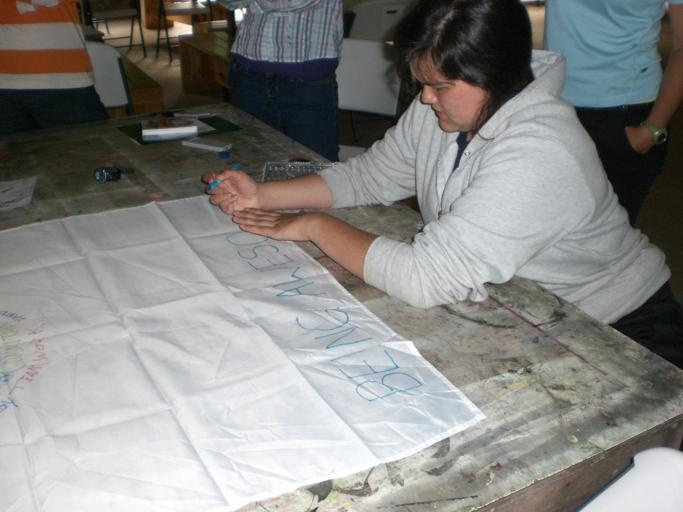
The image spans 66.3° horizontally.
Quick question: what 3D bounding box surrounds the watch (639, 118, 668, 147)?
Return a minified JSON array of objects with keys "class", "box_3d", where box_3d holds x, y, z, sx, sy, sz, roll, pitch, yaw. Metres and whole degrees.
[{"class":"watch","box_3d":[1.178,-0.455,1.949,0.059,0.085,0.102,-49,56,-4]}]
